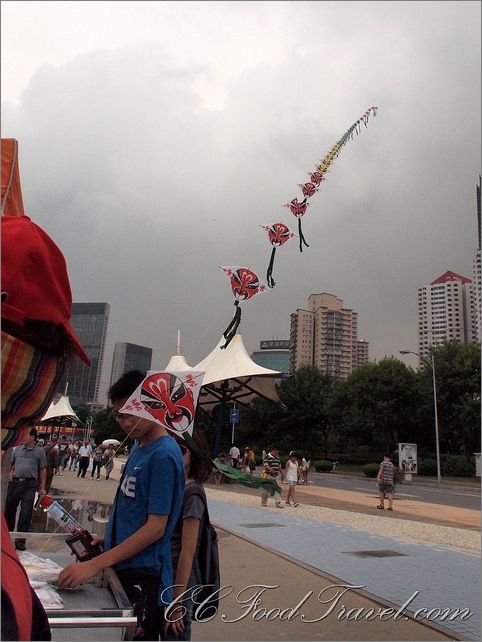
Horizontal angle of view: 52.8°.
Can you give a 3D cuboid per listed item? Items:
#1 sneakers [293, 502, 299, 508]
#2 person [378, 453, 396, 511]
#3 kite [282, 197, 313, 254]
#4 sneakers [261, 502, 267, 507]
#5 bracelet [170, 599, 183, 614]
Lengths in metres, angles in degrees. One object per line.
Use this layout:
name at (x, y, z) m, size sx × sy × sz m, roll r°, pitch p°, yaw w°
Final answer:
sneakers at (1.595, 5.413, 14.165) m, size 0.118 × 0.136 × 0.296 m, roll -2°, pitch -20°, yaw -10°
person at (4.263, 4.768, 14.277) m, size 0.499 × 1.597 × 0.500 m, roll 7°, pitch -18°, yaw 0°
kite at (1.464, -2.311, 11.680) m, size 0.605 × 0.300 × 1.306 m, roll 7°, pitch -41°, yaw 17°
sneakers at (0.670, 5.356, 14.038) m, size 0.186 × 0.191 × 0.211 m, roll 3°, pitch -27°, yaw 0°
bracelet at (-0.301, 1.341, 2.263) m, size 0.038 × 0.020 × 0.055 m, roll 12°, pitch -28°, yaw 17°
